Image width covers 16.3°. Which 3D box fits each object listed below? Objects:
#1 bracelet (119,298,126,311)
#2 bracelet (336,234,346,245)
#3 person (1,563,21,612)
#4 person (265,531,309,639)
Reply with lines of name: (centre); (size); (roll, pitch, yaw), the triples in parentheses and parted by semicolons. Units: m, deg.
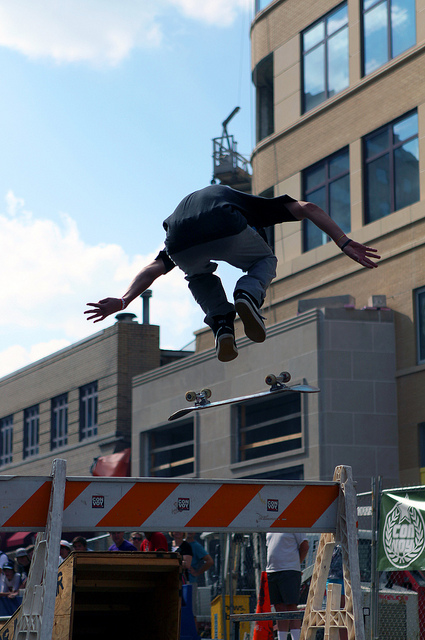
bracelet: (-0.831, -0.132, 13.930); (0.056, 0.108, 0.178); (0, -13, -5)
bracelet: (1.210, -0.733, 13.842); (0.069, 0.019, 0.073); (-43, 2, 45)
person: (-2.598, 3.495, 19.236); (0.242, 0.652, 0.975); (1, -13, -8)
person: (0.838, 2.901, 16.126); (0.456, 1.173, 0.896); (-1, -13, 2)
